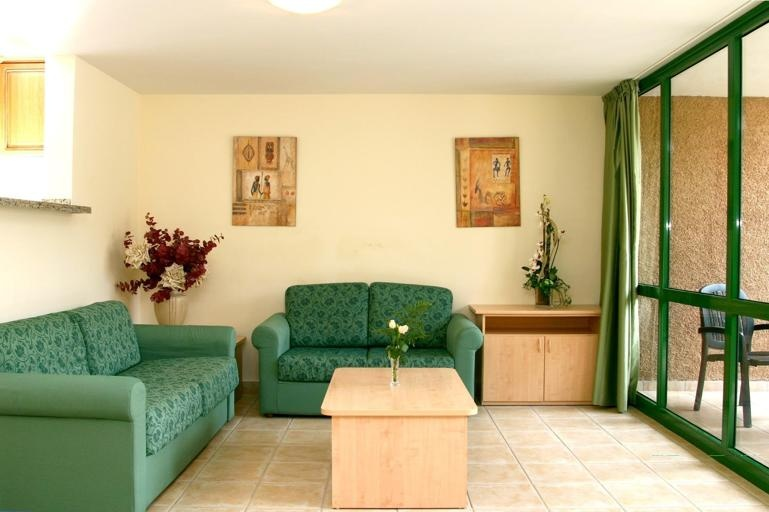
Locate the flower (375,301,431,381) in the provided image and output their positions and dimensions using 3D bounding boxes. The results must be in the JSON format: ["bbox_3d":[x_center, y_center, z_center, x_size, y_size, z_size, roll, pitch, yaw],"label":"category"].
[{"bbox_3d":[0.105,0.750,4.686,0.396,0.578,0.416,16,-23,-22],"label":"flower"}]

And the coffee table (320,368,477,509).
[{"bbox_3d":[0.106,1.403,4.556,0.899,0.595,1.165,-1,3,-1],"label":"coffee table"}]

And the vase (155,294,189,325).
[{"bbox_3d":[-2.201,0.555,6.070,0.324,0.358,0.313,1,2,-2],"label":"vase"}]

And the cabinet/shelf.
[{"bbox_3d":[1.605,1.128,6.178,1.380,0.929,0.521,1,-18,-3],"label":"cabinet/shelf"}]

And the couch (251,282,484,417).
[{"bbox_3d":[-0.161,0.945,6.036,2.271,1.180,0.951,0,6,0],"label":"couch"}]

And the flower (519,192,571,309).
[{"bbox_3d":[1.779,-0.044,6.239,0.479,1.171,0.538,11,17,40],"label":"flower"}]

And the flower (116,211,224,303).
[{"bbox_3d":[-2.271,0.077,6.138,0.909,0.896,0.871,3,-15,-23],"label":"flower"}]

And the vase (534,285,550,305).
[{"bbox_3d":[1.685,0.436,6.173,0.172,0.188,0.171,2,-1,9],"label":"vase"}]
